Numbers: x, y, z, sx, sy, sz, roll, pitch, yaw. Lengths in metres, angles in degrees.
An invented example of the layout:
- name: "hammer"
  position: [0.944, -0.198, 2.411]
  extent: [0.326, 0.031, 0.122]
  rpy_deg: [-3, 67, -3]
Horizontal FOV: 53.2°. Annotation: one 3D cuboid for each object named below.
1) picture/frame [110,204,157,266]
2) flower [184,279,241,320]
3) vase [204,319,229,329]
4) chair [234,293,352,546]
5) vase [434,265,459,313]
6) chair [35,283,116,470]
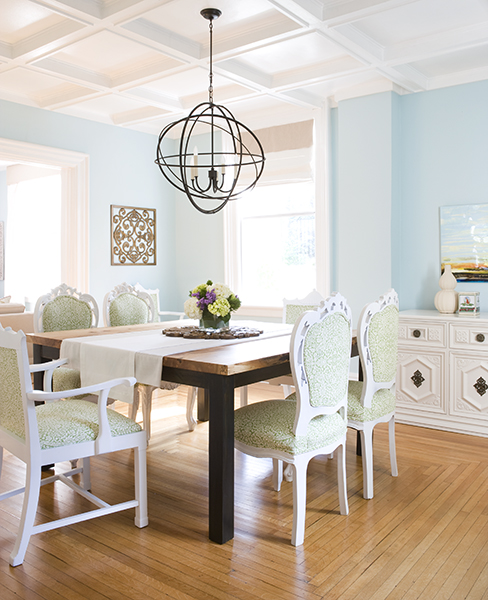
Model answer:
- name: "picture/frame"
  position: [-1.312, -0.765, 5.817]
  extent: [0.035, 0.678, 0.714]
  rpy_deg: [6, 8, 33]
- name: "flower"
  position: [-0.167, -0.002, 2.933]
  extent: [0.273, 0.164, 0.277]
  rpy_deg: [-15, 25, -15]
- name: "vase"
  position: [-0.177, 0.141, 2.938]
  extent: [0.084, 0.058, 0.082]
  rpy_deg: [0, 5, -6]
- name: "chair"
  position: [0.194, 0.473, 2.139]
  extent: [0.518, 0.935, 0.493]
  rpy_deg: [-1, 3, -41]
- name: "vase"
  position: [1.630, -0.086, 3.918]
  extent: [0.161, 0.385, 0.370]
  rpy_deg: [0, -1, 24]
- name: "chair"
  position: [-1.146, 0.363, 3.333]
  extent: [0.468, 0.820, 0.502]
  rpy_deg: [-8, 22, -37]
